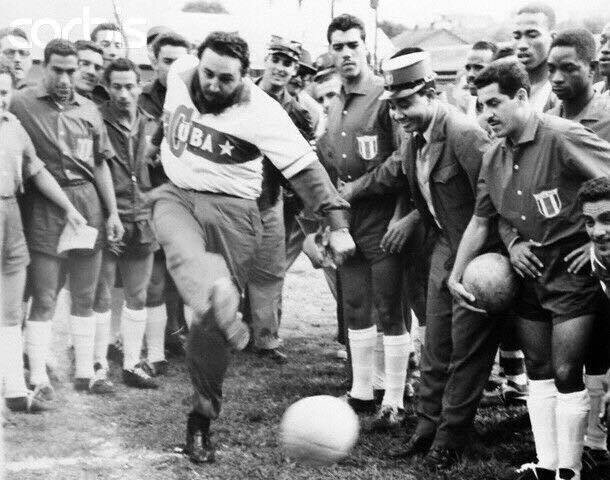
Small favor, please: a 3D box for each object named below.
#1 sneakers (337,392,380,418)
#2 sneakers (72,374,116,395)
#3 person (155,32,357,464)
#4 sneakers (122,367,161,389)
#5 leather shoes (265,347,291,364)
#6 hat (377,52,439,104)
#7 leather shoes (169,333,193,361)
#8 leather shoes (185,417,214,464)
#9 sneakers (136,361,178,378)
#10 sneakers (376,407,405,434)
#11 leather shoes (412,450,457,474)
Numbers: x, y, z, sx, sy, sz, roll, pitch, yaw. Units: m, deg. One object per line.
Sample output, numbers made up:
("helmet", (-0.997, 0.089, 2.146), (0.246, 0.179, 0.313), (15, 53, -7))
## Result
("sneakers", (0.341, 1.043, 4.465), (0.221, 0.162, 0.106), (19, 7, 10))
("sneakers", (-1.109, 0.760, 3.694), (0.189, 0.080, 0.078), (4, 13, -16))
("person", (-0.366, 0.062, 3.671), (0.806, 2.213, 0.325), (0, -1, -23))
("sneakers", (-0.877, 0.737, 3.776), (0.226, 0.101, 0.086), (15, 41, 2))
("leather shoes", (-0.161, 0.706, 4.325), (0.158, 0.041, 0.076), (31, 14, -49))
("hat", (0.583, -0.951, 3.989), (0.271, 0.187, 0.396), (9, 38, 39))
("leather shoes", (-0.654, 0.557, 3.751), (0.102, 0.146, 0.043), (17, 17, 34))
("leather shoes", (-0.564, 1.051, 3.718), (0.108, 0.215, 0.258), (8, -4, -23))
("sneakers", (-0.788, 0.685, 3.746), (0.191, 0.088, 0.072), (11, 44, -18))
("sneakers", (0.497, 1.095, 4.279), (0.086, 0.104, 0.242), (-24, -13, 34))
("leather shoes", (0.707, 1.193, 3.822), (0.208, 0.094, 0.102), (0, 7, -13))
